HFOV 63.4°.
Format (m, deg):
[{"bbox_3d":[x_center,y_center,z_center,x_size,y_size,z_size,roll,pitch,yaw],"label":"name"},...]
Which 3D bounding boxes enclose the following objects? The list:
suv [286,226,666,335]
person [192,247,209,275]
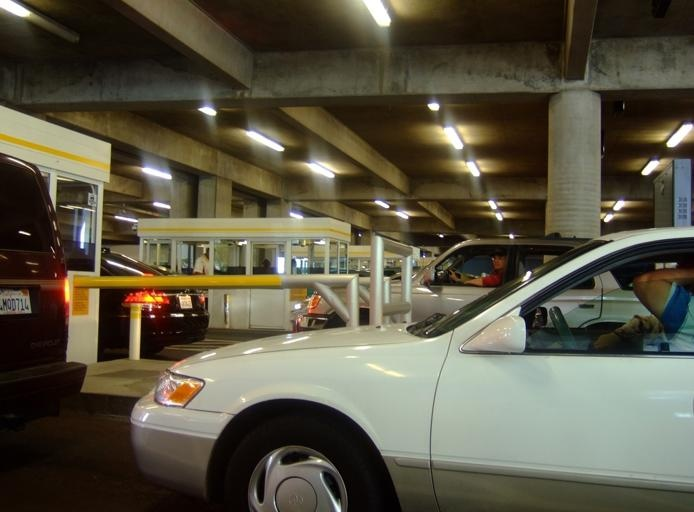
[{"bbox_3d":[1.390,0.298,8.490,4.473,1.686,1.873,2,-4,11],"label":"suv"},{"bbox_3d":[-4.420,0.157,17.033,0.448,0.607,0.862,6,-1,9],"label":"person"}]
